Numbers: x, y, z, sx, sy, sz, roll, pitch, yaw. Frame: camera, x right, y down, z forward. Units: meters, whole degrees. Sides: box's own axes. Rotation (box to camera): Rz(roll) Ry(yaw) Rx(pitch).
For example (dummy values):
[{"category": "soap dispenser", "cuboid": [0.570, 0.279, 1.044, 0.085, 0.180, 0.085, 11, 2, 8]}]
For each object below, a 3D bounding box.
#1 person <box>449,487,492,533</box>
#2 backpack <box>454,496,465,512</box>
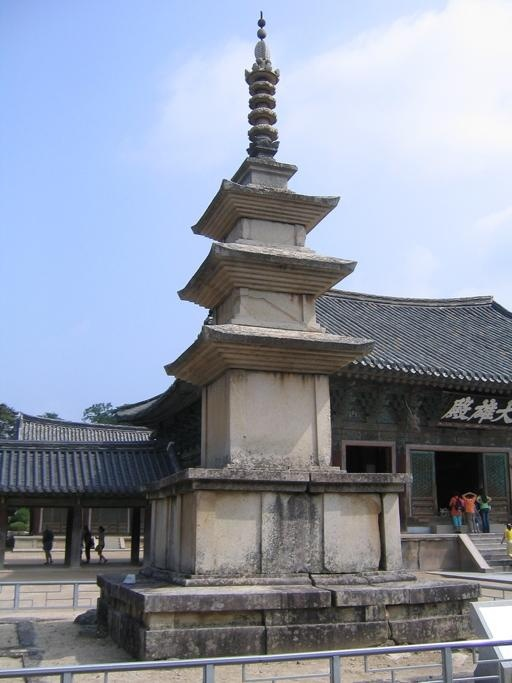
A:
[{"category": "person", "cuboid": [4.791, 3.882, 16.693, 0.617, 0.894, 1.617, -7, -3, 37]}, {"category": "backpack", "cuboid": [4.463, 3.591, 16.381, 0.213, 0.320, 0.363, -6, -2, 19]}]
